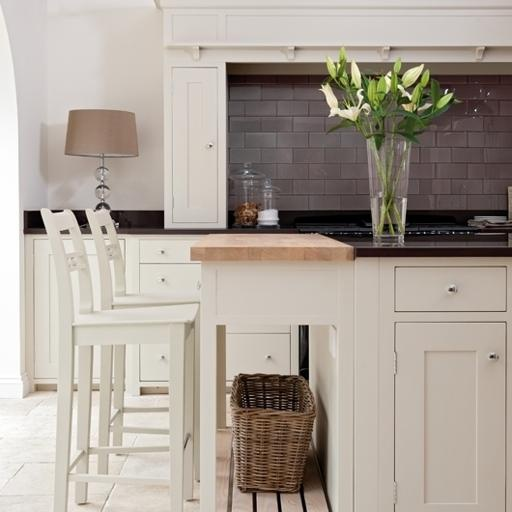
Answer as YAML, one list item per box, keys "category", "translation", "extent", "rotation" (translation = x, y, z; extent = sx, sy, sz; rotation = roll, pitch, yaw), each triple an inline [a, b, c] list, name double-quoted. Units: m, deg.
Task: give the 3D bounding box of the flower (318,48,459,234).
- category: "flower"
  translation: [0.423, -0.350, 1.736]
  extent: [0.396, 0.596, 0.278]
  rotation: [0, 4, 19]

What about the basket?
- category: "basket"
  translation: [0.018, 0.677, 2.021]
  extent: [0.299, 0.301, 0.453]
  rotation: [5, -9, -4]

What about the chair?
- category: "chair"
  translation: [-0.459, 0.381, 1.993]
  extent: [0.505, 1.100, 0.751]
  rotation: [-2, 3, -13]

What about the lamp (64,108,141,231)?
- category: "lamp"
  translation: [-1.004, -0.568, 3.574]
  extent: [0.483, 0.721, 0.443]
  rotation: [-4, 9, -40]

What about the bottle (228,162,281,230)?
- category: "bottle"
  translation: [-0.012, -0.402, 3.657]
  extent: [0.329, 0.454, 0.438]
  rotation: [-1, -1, -17]
